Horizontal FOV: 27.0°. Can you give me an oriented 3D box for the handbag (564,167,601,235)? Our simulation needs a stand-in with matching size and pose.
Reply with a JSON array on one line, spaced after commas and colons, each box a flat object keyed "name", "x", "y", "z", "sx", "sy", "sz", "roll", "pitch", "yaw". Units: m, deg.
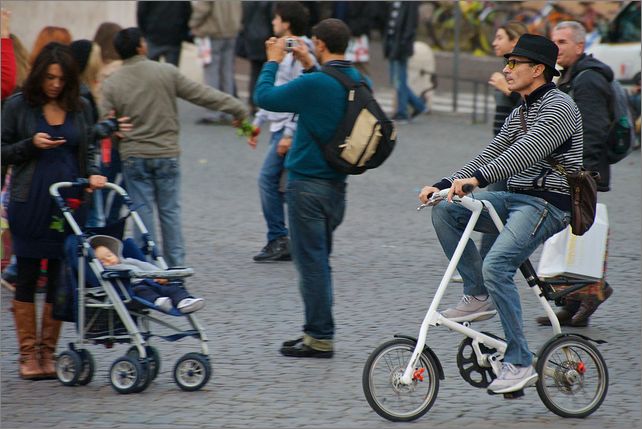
[{"name": "handbag", "x": 2.290, "y": -0.081, "z": 11.656, "sx": 0.397, "sy": 0.489, "sz": 0.462, "roll": -1, "pitch": 2, "yaw": 17}]

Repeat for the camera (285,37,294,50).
[{"name": "camera", "x": -0.265, "y": -1.517, "z": 11.875, "sx": 0.138, "sy": 0.105, "sz": 0.115, "roll": 1, "pitch": 5, "yaw": 2}]

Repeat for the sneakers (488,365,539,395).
[{"name": "sneakers", "x": 1.620, "y": 1.374, "z": 11.156, "sx": 0.581, "sy": 0.191, "sz": 0.178, "roll": -7, "pitch": -5, "yaw": -7}]

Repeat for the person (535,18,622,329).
[{"name": "person", "x": 2.324, "y": -0.467, "z": 13.155, "sx": 1.444, "sy": 2.627, "sz": 1.113, "roll": 0, "pitch": -9, "yaw": 28}]

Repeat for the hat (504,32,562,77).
[{"name": "hat", "x": 1.868, "y": -1.394, "z": 11.570, "sx": 0.590, "sy": 0.238, "sz": 0.460, "roll": 24, "pitch": 1, "yaw": 16}]

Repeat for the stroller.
[{"name": "stroller", "x": -1.703, "y": 0.642, "z": 11.680, "sx": 1.589, "sy": 1.606, "sz": 1.051, "roll": 10, "pitch": 5, "yaw": 27}]

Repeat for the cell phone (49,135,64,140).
[{"name": "cell phone", "x": -2.304, "y": -0.670, "z": 11.693, "sx": 0.123, "sy": 0.028, "sz": 0.134, "roll": -2, "pitch": 19, "yaw": -12}]
